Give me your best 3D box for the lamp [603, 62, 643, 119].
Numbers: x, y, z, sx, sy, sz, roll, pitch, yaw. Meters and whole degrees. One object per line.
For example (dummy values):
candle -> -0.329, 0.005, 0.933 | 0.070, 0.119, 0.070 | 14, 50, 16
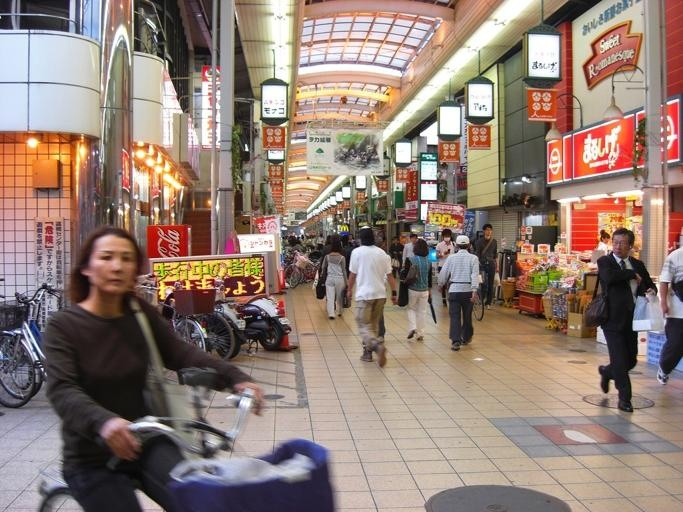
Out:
lamp -> 6.800, -3.980, 13.266 | 0.885, 1.394, 0.392 | 3, -6, 13

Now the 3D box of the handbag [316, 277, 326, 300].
handbag -> -0.478, 0.753, 12.839 | 0.129, 0.413, 0.301 | 6, -3, 8

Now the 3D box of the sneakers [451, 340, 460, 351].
sneakers -> 1.902, 1.496, 9.216 | 0.135, 0.125, 0.286 | 0, -8, 0

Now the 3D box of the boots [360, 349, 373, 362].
boots -> 0.380, 1.559, 8.589 | 0.099, 0.166, 0.236 | 1, 7, -7

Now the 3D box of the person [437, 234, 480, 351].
person -> 2.019, 0.604, 9.585 | 0.690, 1.903, 1.103 | 1, 4, 10

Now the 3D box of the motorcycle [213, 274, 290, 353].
motorcycle -> -1.792, 1.079, 9.025 | 1.625, 0.915, 0.711 | 0, 3, 22

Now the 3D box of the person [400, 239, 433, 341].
person -> 1.359, 0.603, 10.163 | 0.527, 1.898, 1.136 | 1, 4, 8

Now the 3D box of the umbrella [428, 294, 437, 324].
umbrella -> 2.124, 1.266, 12.959 | 0.112, 0.944, 0.178 | -23, 39, 5

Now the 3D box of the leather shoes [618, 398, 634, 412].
leather shoes -> 3.064, 1.593, 5.952 | 0.143, 0.126, 0.246 | 2, 5, 27

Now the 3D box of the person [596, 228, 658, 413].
person -> 3.052, 0.674, 6.056 | 0.470, 1.933, 0.513 | 3, 5, 29

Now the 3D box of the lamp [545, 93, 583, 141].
lamp -> 6.827, -4.248, 16.909 | 0.963, 1.666, 2.130 | 2, 5, 23

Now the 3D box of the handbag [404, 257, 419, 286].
handbag -> 1.256, 0.287, 9.876 | 0.256, 0.582, 0.493 | 4, -3, 3
